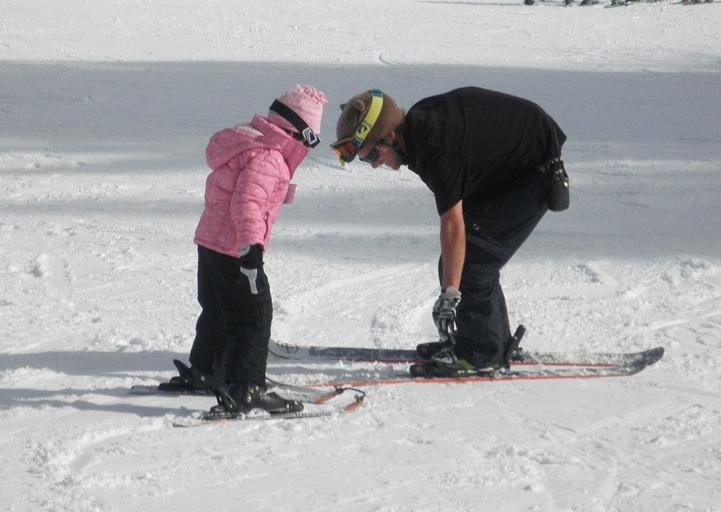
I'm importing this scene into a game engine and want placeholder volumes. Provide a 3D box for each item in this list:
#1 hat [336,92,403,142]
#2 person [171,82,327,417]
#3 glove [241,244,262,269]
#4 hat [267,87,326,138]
[{"bbox_3d":[0.114,-1.243,8.612,0.555,0.444,0.400,14,15,13],"label":"hat"},{"bbox_3d":[-0.969,-0.071,8.301,0.971,2.736,0.933,4,18,-9],"label":"person"},{"bbox_3d":[-0.915,0.011,8.215,0.217,0.195,0.159,0,-1,6],"label":"glove"},{"bbox_3d":[-0.496,-1.317,8.491,0.465,0.400,0.351,40,12,6],"label":"hat"}]
